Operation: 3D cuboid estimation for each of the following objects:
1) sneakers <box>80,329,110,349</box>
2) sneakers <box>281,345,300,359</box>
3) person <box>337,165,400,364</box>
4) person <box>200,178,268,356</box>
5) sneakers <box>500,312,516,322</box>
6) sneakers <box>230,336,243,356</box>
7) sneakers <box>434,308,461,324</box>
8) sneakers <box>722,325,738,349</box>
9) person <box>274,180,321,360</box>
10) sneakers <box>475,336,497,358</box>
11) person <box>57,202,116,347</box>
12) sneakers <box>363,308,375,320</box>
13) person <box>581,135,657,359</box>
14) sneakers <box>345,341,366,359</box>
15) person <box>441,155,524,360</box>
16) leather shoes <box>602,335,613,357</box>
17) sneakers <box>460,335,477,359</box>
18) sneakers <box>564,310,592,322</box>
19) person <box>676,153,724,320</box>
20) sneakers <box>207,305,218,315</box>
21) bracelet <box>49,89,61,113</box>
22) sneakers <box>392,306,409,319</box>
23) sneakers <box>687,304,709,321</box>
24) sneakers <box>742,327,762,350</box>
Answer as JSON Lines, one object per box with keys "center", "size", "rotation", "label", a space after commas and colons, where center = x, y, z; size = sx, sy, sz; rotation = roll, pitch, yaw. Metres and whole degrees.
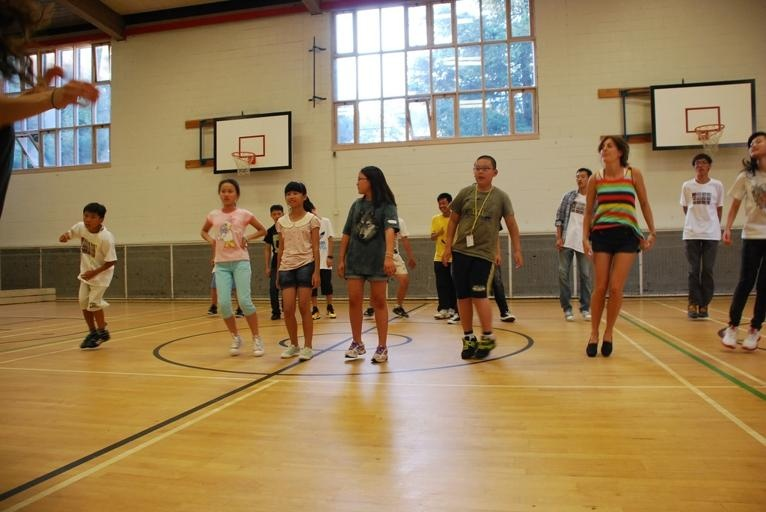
{"center": [-3.311, 0.956, 6.741], "size": [0.143, 0.176, 0.409], "rotation": [-10, -1, 8], "label": "sneakers"}
{"center": [-0.959, 0.995, 6.065], "size": [0.095, 0.102, 0.224], "rotation": [-6, -10, 23], "label": "sneakers"}
{"center": [-0.137, 0.110, 5.825], "size": [0.605, 1.939, 0.543], "rotation": [-3, 11, -5], "label": "person"}
{"center": [-1.619, 0.145, 6.434], "size": [0.661, 1.920, 1.166], "rotation": [-5, 11, -15], "label": "person"}
{"center": [1.708, 0.863, 8.108], "size": [0.100, 0.109, 0.234], "rotation": [3, -6, -42], "label": "sneakers"}
{"center": [-1.579, 0.960, 6.250], "size": [0.110, 0.176, 0.199], "rotation": [-3, 11, -6], "label": "sneakers"}
{"center": [0.934, 0.881, 8.494], "size": [0.374, 0.166, 0.135], "rotation": [4, -1, 13], "label": "sneakers"}
{"center": [3.516, 0.823, 5.980], "size": [0.134, 0.158, 0.401], "rotation": [25, 8, 21], "label": "sneakers"}
{"center": [-0.859, 0.181, 5.972], "size": [0.462, 1.818, 0.624], "rotation": [-3, 11, -7], "label": "person"}
{"center": [1.032, 0.912, 5.895], "size": [0.132, 0.226, 0.323], "rotation": [7, 14, 39], "label": "sneakers"}
{"center": [-3.389, 0.252, 6.821], "size": [0.549, 1.701, 0.841], "rotation": [-8, 12, -28], "label": "person"}
{"center": [-0.223, 0.895, 8.955], "size": [0.131, 0.169, 0.395], "rotation": [-1, -9, 0], "label": "sneakers"}
{"center": [2.299, -0.085, 5.744], "size": [0.645, 2.114, 0.563], "rotation": [2, 12, 20], "label": "person"}
{"center": [-0.289, 0.957, 5.886], "size": [0.104, 0.122, 0.254], "rotation": [-2, -12, 13], "label": "sneakers"}
{"center": [1.007, 0.007, 5.937], "size": [0.693, 1.980, 0.606], "rotation": [-5, 11, -16], "label": "person"}
{"center": [2.221, 0.901, 5.813], "size": [0.075, 0.057, 0.212], "rotation": [-5, 33, 22], "label": "leather shoes"}
{"center": [0.861, 0.910, 5.866], "size": [0.159, 0.200, 0.180], "rotation": [-1, 11, 7], "label": "sneakers"}
{"center": [2.674, 0.829, 8.042], "size": [0.292, 0.139, 0.396], "rotation": [0, -10, 4], "label": "sneakers"}
{"center": [4.222, -0.214, 7.751], "size": [0.465, 2.196, 0.624], "rotation": [1, 11, 15], "label": "person"}
{"center": [-2.866, 0.912, 9.815], "size": [0.104, 0.127, 0.293], "rotation": [2, -8, 0], "label": "sneakers"}
{"center": [-1.983, -0.936, 3.528], "size": [0.035, 0.120, 0.106], "rotation": [2, 4, -7], "label": "bracelet"}
{"center": [0.227, 0.862, 8.961], "size": [0.309, 0.146, 0.110], "rotation": [-3, -3, 35], "label": "sneakers"}
{"center": [4.206, 0.769, 7.824], "size": [0.129, 0.270, 0.378], "rotation": [-3, -24, 12], "label": "sneakers"}
{"center": [3.640, 0.809, 5.786], "size": [0.117, 0.156, 0.350], "rotation": [0, 13, 42], "label": "sneakers"}
